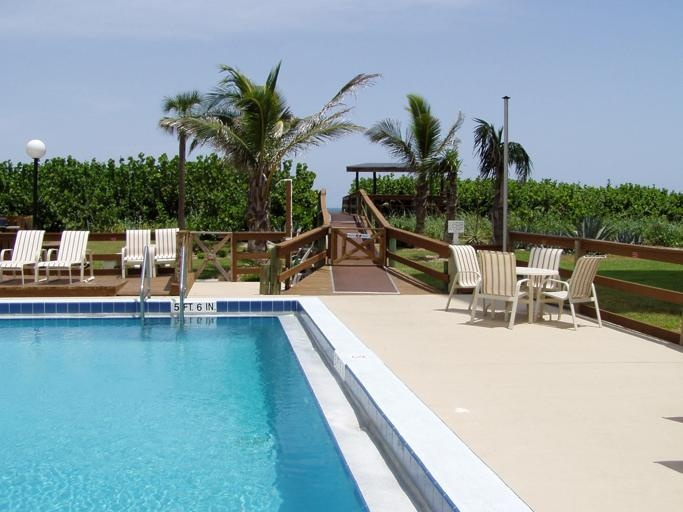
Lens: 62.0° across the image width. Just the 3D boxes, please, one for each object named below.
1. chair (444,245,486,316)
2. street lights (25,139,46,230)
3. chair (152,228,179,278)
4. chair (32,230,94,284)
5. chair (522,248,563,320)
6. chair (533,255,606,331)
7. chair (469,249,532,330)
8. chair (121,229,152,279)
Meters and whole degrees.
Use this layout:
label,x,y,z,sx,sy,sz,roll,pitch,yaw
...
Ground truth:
label,x,y,z,sx,sy,sz,roll,pitch,yaw
chair,2.274,0.420,9.795,0.646,1.118,0.669,-1,4,-35
street lights,-7.870,-1.761,14.516,0.463,2.292,0.514,3,4,-4
chair,-3.825,-0.043,12.404,0.740,1.042,0.813,0,9,5
chair,-5.726,0.017,11.770,0.820,1.222,1.290,0,4,4
chair,2.928,0.407,8.615,0.678,1.082,0.717,7,2,41
chair,3.173,0.500,7.927,0.720,1.052,0.685,7,-5,-15
chair,2.318,0.453,8.130,0.620,1.081,0.726,4,4,38
chair,-4.460,-0.001,12.204,0.567,0.883,0.598,-3,11,-23
